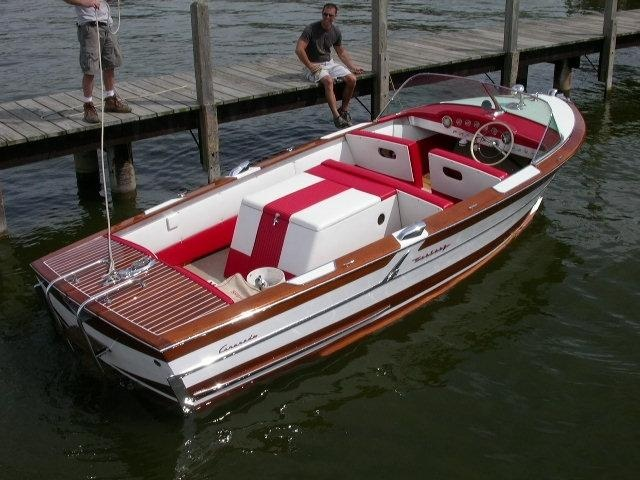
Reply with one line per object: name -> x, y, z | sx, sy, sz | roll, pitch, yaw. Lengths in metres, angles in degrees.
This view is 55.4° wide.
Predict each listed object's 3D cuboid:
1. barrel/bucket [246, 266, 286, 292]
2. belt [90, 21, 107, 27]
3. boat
barrel/bucket -> -0.469, 0.328, 5.336 | 0.281, 0.134, 0.264 | -10, 26, 5
belt -> -2.496, -2.420, 6.849 | 0.112, 0.062, 0.186 | 7, 22, 16
boat -> 1.325, -0.220, 6.823 | 7.740, 1.996, 2.492 | -20, 38, -25
